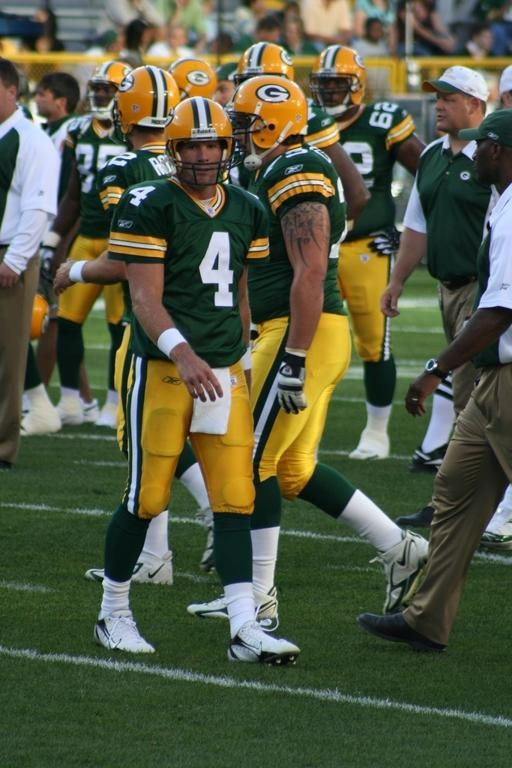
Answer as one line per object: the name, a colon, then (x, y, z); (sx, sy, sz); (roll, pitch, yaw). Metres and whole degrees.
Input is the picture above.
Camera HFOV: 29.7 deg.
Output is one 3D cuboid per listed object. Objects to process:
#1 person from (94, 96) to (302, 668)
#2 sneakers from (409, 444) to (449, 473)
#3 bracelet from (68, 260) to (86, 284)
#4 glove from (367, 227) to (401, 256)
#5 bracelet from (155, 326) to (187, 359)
person: (-0.155, 0.004, 2.725); (0.531, 1.621, 0.516); (1, 7, -13)
sneakers: (0.951, 0.428, 5.371); (0.288, 0.110, 0.088); (-16, 50, -15)
bracelet: (-0.615, -0.390, 3.317); (0.040, 0.071, 0.127); (0, 7, -24)
glove: (0.743, -0.832, 5.567); (0.169, 0.061, 0.156); (-26, 61, -18)
bracelet: (-0.230, -0.105, 2.580); (0.087, 0.076, 0.084); (0, 34, -31)
